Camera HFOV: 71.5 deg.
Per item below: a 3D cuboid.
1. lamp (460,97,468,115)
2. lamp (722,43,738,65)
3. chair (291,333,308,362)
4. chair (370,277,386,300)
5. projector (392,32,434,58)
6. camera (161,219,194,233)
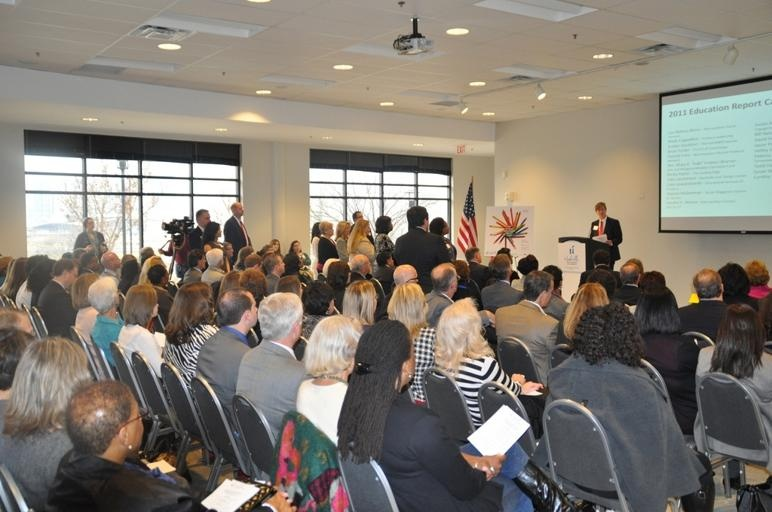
[{"bbox_3d":[1.629,-3.227,11.339,0.054,0.234,0.241,25,8,15],"label":"lamp"},{"bbox_3d":[4.929,-2.949,7.715,0.179,0.226,0.233,10,-34,20],"label":"lamp"},{"bbox_3d":[-0.728,0.770,4.540,0.193,0.289,0.289,2,-12,-11],"label":"chair"},{"bbox_3d":[-0.082,0.408,6.713,0.209,0.335,0.190,-3,5,-16],"label":"chair"},{"bbox_3d":[0.339,-2.671,6.624,0.434,0.248,0.258,1,3,18],"label":"projector"},{"bbox_3d":[-3.802,-0.559,9.885,0.478,0.247,0.348,-1,2,-40],"label":"camera"}]
